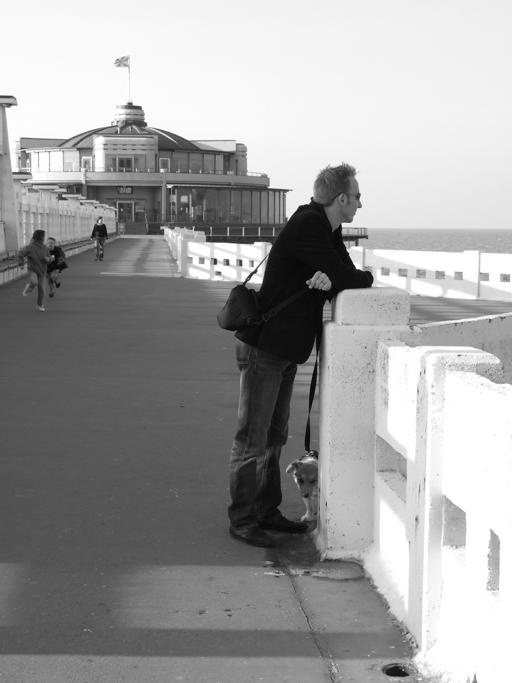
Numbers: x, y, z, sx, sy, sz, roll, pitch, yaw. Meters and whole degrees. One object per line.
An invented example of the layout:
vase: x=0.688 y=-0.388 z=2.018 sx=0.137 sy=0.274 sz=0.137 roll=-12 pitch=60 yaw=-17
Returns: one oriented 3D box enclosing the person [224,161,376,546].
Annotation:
person: x=0.191 y=0.077 z=4.890 sx=0.660 sy=1.968 sz=0.586 roll=2 pitch=9 yaw=4
